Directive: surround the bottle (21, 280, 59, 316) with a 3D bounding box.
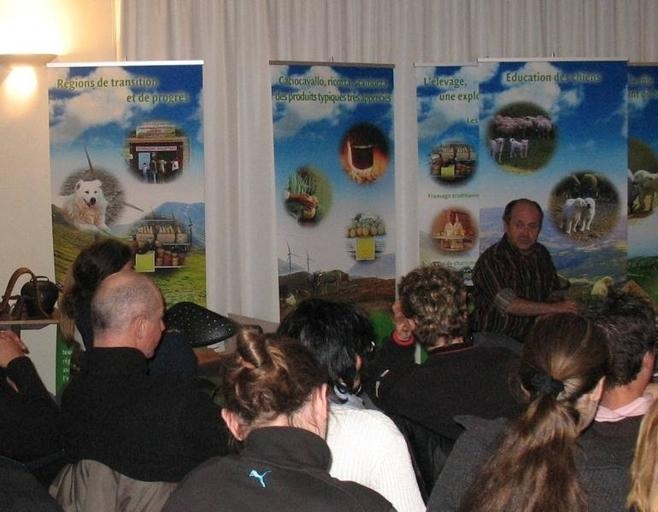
[{"bbox_3d":[-2.226,0.340,4.769,0.256,0.312,0.265,1,-8,-9],"label":"bottle"}]
